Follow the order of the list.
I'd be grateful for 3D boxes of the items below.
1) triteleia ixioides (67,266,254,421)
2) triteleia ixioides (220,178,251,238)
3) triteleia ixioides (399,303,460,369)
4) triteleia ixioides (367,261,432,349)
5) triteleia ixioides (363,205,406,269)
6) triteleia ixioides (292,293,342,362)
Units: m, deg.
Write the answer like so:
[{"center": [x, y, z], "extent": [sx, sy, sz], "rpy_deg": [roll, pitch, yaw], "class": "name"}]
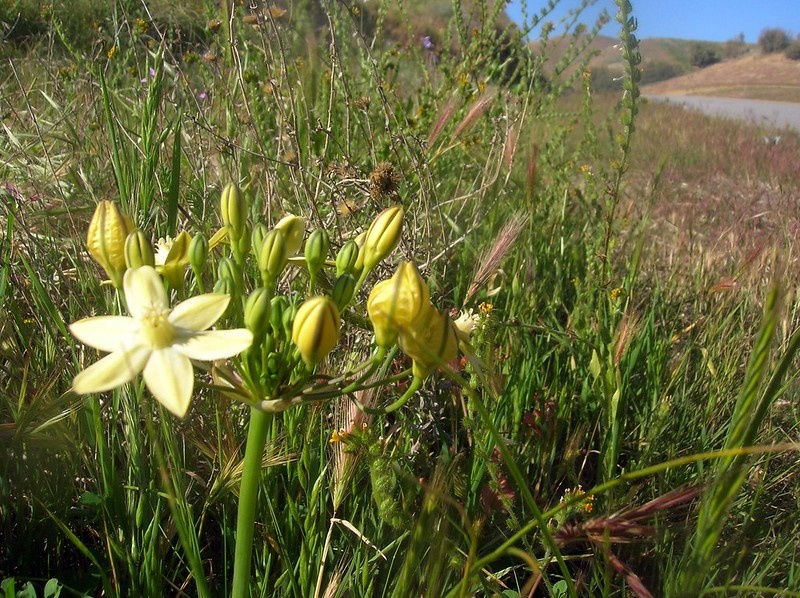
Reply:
[{"center": [-0.738, 0.122, 2.127], "extent": [0.574, 0.312, 0.350], "rpy_deg": [13, 17, 3], "class": "triteleia ixioides"}, {"center": [-0.581, -0.316, 2.424], "extent": [0.090, 0.196, 0.073], "rpy_deg": [3, 15, -17], "class": "triteleia ixioides"}, {"center": [0.080, 0.107, 2.259], "extent": [0.173, 0.136, 0.203], "rpy_deg": [27, -6, -28], "class": "triteleia ixioides"}, {"center": [-0.005, 0.026, 2.310], "extent": [0.175, 0.340, 0.174], "rpy_deg": [-17, 51, -29], "class": "triteleia ixioides"}, {"center": [-0.061, -0.226, 2.464], "extent": [0.131, 0.237, 0.115], "rpy_deg": [8, 15, -2], "class": "triteleia ixioides"}, {"center": [-0.260, 0.070, 2.209], "extent": [0.133, 0.340, 0.114], "rpy_deg": [-8, 29, -29], "class": "triteleia ixioides"}]
